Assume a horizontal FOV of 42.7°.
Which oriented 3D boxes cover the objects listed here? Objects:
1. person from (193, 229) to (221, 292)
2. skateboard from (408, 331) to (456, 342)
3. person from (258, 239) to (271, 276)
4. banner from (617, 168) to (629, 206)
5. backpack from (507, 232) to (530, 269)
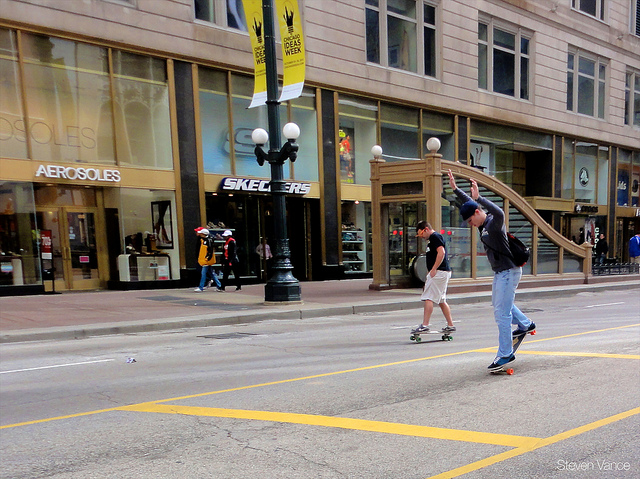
[{"bbox_3d":[-3.609,0.679,25.937,0.819,1.899,1.311,-3,13,-8],"label":"person"},{"bbox_3d":[2.389,2.100,17.743,0.782,0.162,0.340,-2,-1,-3],"label":"skateboard"},{"bbox_3d":[-2.038,0.703,29.727,0.469,1.330,0.384,-6,15,-20],"label":"person"},{"bbox_3d":[16.939,-2.878,46.048,0.138,2.638,2.419,-2,-1,34],"label":"banner"},{"bbox_3d":[3.714,0.258,15.402,0.390,0.648,0.527,2,13,11],"label":"backpack"}]
